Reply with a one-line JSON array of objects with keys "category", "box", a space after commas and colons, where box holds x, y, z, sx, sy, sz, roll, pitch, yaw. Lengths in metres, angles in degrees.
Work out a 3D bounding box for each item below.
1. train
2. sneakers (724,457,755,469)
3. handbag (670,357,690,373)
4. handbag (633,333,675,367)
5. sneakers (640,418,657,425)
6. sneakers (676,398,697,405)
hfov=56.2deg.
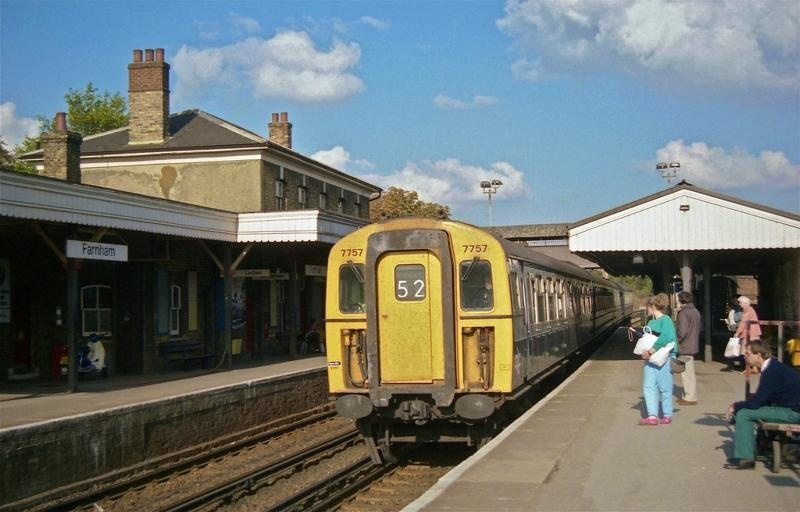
[{"category": "train", "box": [2.346, 1.664, 18.111, 3.289, 5.322, 8.514, 1, 4, 37]}, {"category": "sneakers", "box": [5.874, 3.560, 13.061, 0.548, 0.221, 0.198, 5, -9, 7]}, {"category": "handbag", "box": [5.878, 2.311, 15.732, 0.354, 0.460, 0.401, -4, 14, 7]}, {"category": "handbag", "box": [5.215, 1.901, 15.350, 0.750, 0.652, 0.387, -1, 4, 16]}, {"category": "sneakers", "box": [5.147, 3.364, 15.506, 0.398, 0.169, 0.136, 3, -3, 3]}, {"category": "sneakers", "box": [6.543, 3.270, 17.155, 0.466, 0.194, 0.158, 7, -4, 5]}]
